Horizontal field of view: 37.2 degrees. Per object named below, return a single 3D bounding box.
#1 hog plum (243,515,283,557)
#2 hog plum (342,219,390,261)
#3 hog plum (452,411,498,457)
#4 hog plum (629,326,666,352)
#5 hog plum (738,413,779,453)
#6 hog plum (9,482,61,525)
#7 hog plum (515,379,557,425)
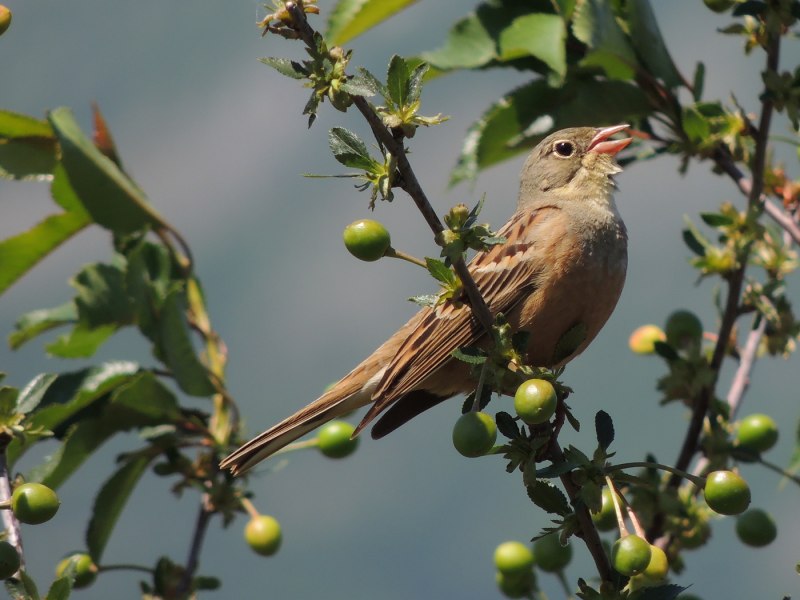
[{"bbox_3d":[-0.562,0.955,4.905,0.191,0.186,0.196,-3,-7,-23],"label":"hog plum"},{"bbox_3d":[-0.116,-0.207,4.078,0.162,0.150,0.141,-12,1,3],"label":"hog plum"},{"bbox_3d":[0.253,0.448,4.052,0.151,0.199,0.157,0,20,-3],"label":"hog plum"},{"bbox_3d":[1.024,0.163,4.887,0.126,0.094,0.159,-8,6,6],"label":"hog plum"},{"bbox_3d":[1.501,0.556,5.033,0.146,0.196,0.156,0,6,-2],"label":"hog plum"},{"bbox_3d":[-1.273,0.708,4.106,0.169,0.154,0.142,-10,-20,-13],"label":"hog plum"},{"bbox_3d":[0.449,0.330,3.971,0.131,0.147,0.167,-5,-9,6],"label":"hog plum"}]
